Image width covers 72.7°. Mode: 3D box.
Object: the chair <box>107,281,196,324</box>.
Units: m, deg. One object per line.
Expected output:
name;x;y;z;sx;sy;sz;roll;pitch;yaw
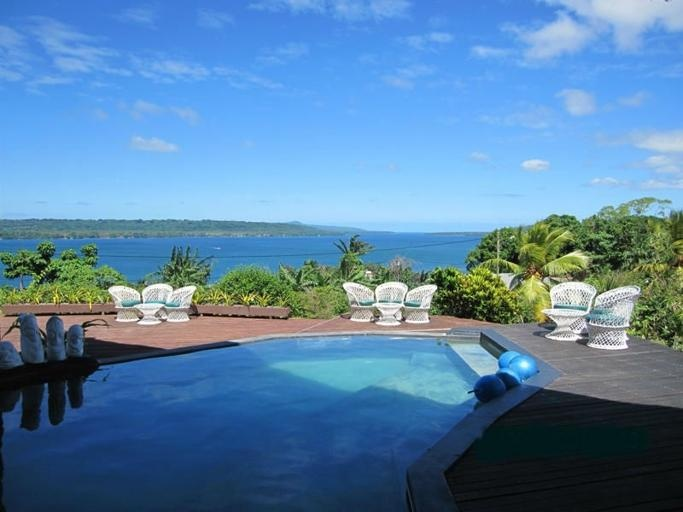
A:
chair;-5.105;1.309;12.472;2.057;0.705;1.239;1;-6;-8

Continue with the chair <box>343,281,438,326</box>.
chair;1.243;1.252;12.562;2.120;0.661;1.290;0;-4;4
